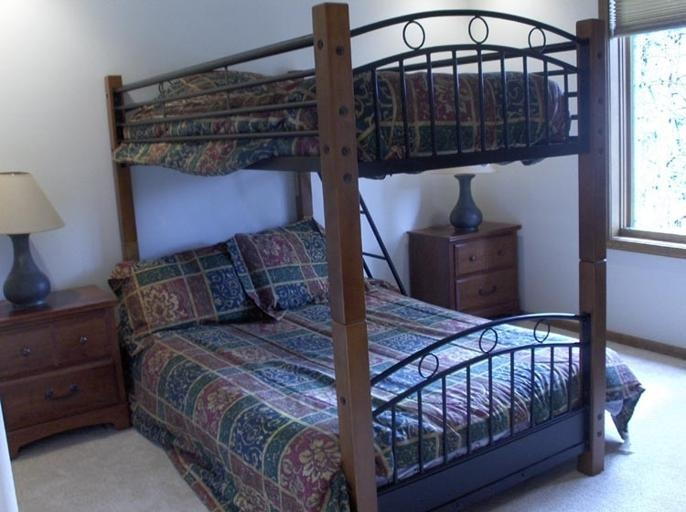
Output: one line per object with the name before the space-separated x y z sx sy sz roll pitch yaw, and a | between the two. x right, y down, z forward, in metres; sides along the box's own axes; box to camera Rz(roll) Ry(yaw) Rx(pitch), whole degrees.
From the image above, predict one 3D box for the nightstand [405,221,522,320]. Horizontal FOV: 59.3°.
nightstand | 0.988 0.112 4.727 0.687 0.686 0.516 -8 13 -17
